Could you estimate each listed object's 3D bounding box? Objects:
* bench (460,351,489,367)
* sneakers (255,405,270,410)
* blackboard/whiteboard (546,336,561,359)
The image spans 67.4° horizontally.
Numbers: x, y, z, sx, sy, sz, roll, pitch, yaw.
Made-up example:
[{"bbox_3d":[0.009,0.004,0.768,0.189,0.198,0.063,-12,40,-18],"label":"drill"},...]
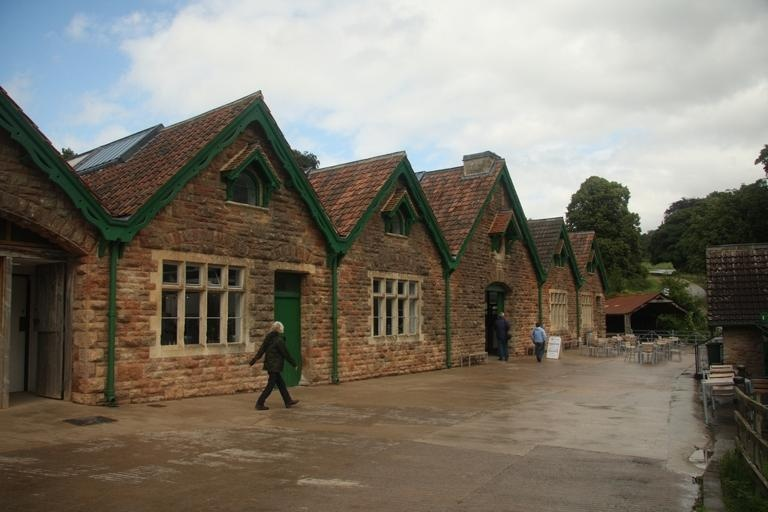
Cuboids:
[{"bbox_3d":[3.930,4.556,25.581,0.510,0.652,1.987,-8,-13,30],"label":"bench"},{"bbox_3d":[-3.017,3.762,14.310,0.373,0.158,0.131,2,-4,-7],"label":"sneakers"},{"bbox_3d":[8.447,4.585,28.898,0.724,1.069,0.766,-7,-11,23],"label":"blackboard/whiteboard"}]
